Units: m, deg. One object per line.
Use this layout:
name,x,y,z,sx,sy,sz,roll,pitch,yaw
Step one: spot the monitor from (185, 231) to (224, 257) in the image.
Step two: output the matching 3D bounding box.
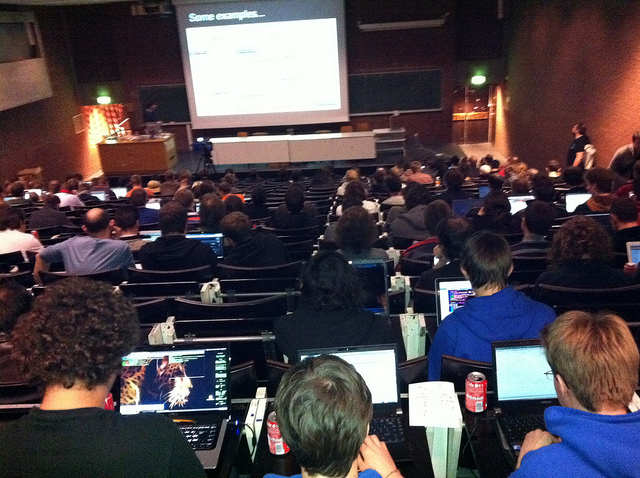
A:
monitor,-1.140,0.008,4.897,0.475,0.292,0.240,0,1,1

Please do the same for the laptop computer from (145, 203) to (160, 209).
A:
laptop computer,-2.492,-0.502,7.296,0.198,0.041,0.133,17,25,33

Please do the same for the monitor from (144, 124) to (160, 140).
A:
monitor,-4.574,-2.916,13.302,0.330,0.496,0.531,-4,-3,-11

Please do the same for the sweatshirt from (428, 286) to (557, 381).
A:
sweatshirt,0.875,0.476,2.442,0.463,0.375,0.234,-6,30,5

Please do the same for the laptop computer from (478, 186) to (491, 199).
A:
laptop computer,2.513,-0.743,7.442,0.143,0.130,0.608,2,13,18

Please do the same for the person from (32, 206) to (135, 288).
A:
person,-2.178,0.071,4.491,0.514,0.998,0.380,21,49,-9

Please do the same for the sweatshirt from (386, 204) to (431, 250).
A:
sweatshirt,0.925,-0.117,5.023,0.539,0.526,0.318,-2,15,3

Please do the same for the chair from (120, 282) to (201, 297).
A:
chair,-1.175,0.375,3.618,0.419,0.138,0.249,2,-13,-6

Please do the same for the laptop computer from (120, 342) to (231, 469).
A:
laptop computer,-0.657,0.793,2.388,0.632,0.350,0.523,1,20,5

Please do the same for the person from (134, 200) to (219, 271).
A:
person,-1.373,-0.021,4.716,0.839,0.649,0.414,0,13,-5

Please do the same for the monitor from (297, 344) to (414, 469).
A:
monitor,0.179,0.651,2.033,0.555,0.301,0.479,0,2,-4

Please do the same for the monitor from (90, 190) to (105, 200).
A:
monitor,-4.238,-0.819,9.213,0.312,0.140,0.256,7,15,33

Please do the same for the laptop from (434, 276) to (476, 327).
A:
laptop,0.806,0.363,2.878,0.317,0.220,0.271,0,44,2

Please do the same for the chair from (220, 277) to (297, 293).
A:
chair,-0.480,0.346,3.681,0.414,0.136,0.261,-1,-15,-2

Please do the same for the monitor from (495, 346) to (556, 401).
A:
monitor,0.946,0.595,2.316,0.336,0.227,0.220,-1,4,0

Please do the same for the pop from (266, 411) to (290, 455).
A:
pop,-0.174,0.834,2.092,0.105,0.148,0.097,-10,9,-24

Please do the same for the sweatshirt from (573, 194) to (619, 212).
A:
sweatshirt,3.147,-0.397,5.518,0.397,0.153,0.376,0,4,10

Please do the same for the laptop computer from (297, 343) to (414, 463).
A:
laptop computer,0.185,0.665,2.215,0.573,0.336,0.475,-1,10,0

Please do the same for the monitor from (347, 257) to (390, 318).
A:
monitor,0.386,0.324,3.390,0.500,0.336,0.446,0,6,-2

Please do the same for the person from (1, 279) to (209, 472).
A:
person,-0.805,0.522,1.815,0.827,0.662,0.370,1,19,-5

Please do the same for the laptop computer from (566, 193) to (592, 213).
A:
laptop computer,3.222,-0.442,6.167,0.303,0.267,0.077,0,3,2

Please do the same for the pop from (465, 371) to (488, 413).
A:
pop,0.717,0.686,2.232,0.101,0.194,0.106,2,15,16
